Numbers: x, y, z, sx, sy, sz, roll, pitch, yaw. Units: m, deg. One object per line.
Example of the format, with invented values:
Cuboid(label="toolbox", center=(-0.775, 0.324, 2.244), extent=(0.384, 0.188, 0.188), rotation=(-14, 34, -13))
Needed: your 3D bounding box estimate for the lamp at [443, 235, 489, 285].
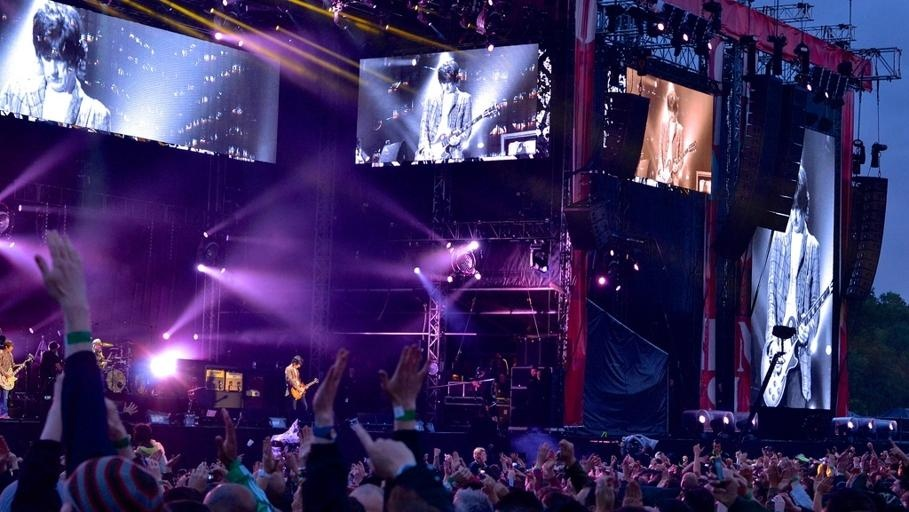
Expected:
Cuboid(label="lamp", center=(0.348, 0.210, 40.531), extent=(1.541, 1.411, 0.503), rotation=(4, 8, 20))

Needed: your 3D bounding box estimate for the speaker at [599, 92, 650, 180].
Cuboid(label="speaker", center=(5.906, -4.248, 38.692), extent=(1.510, 2.766, 1.023), rotation=(3, -10, 1))

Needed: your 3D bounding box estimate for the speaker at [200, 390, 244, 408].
Cuboid(label="speaker", center=(-8.079, 4.895, 38.108), extent=(0.995, 0.575, 0.506), rotation=(11, -33, -33))
